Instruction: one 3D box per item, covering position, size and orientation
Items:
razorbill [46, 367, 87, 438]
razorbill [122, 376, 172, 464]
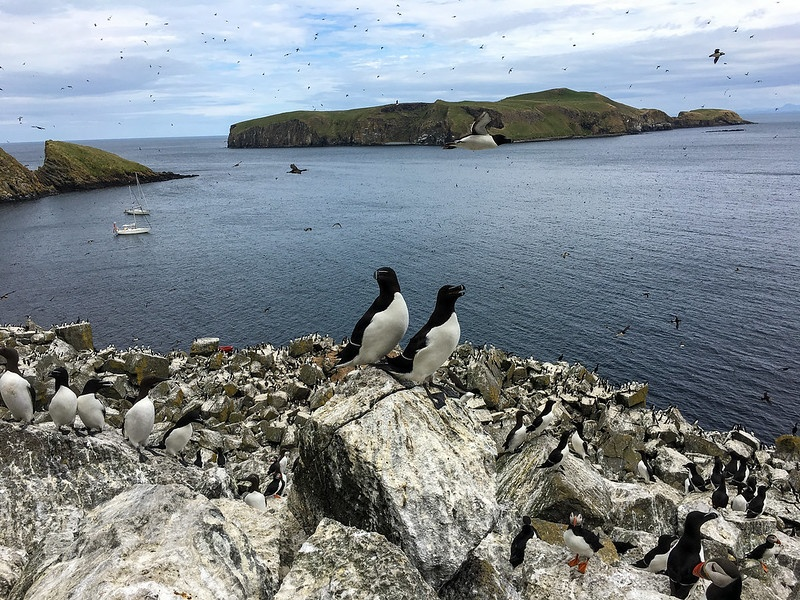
[{"bbox_3d":[-8.862,2.649,15.669,1.075,1.614,0.771,-6,6,-24],"label":"razorbill"},{"bbox_3d":[-7.123,3.232,16.230,1.068,1.810,1.665,-7,20,-15],"label":"razorbill"}]
